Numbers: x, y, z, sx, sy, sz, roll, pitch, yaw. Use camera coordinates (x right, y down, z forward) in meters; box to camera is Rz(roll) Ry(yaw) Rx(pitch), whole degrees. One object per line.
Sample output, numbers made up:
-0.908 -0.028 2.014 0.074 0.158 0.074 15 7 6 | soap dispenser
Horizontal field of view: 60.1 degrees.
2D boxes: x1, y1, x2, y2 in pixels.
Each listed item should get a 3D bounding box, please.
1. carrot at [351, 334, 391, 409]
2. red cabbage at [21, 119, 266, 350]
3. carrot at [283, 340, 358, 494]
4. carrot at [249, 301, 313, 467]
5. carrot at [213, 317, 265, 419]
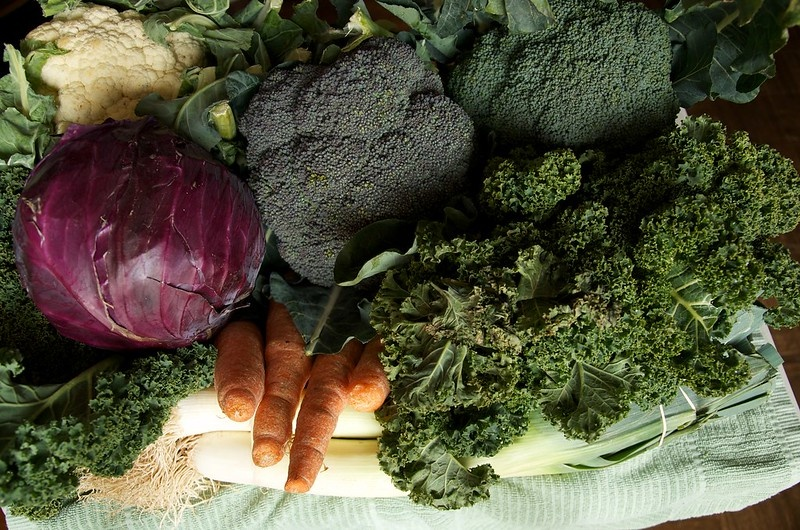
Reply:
-0.113 0.354 2.336 0.136 0.120 0.305 -18 41 13 | carrot
-0.791 -0.119 2.299 0.620 0.733 0.568 -26 45 22 | red cabbage
-0.263 0.491 2.306 0.148 0.131 0.556 13 62 -2 | carrot
-0.399 0.394 2.359 0.137 0.151 0.532 -9 61 19 | carrot
-0.527 0.341 2.281 0.108 0.123 0.353 -43 38 30 | carrot
